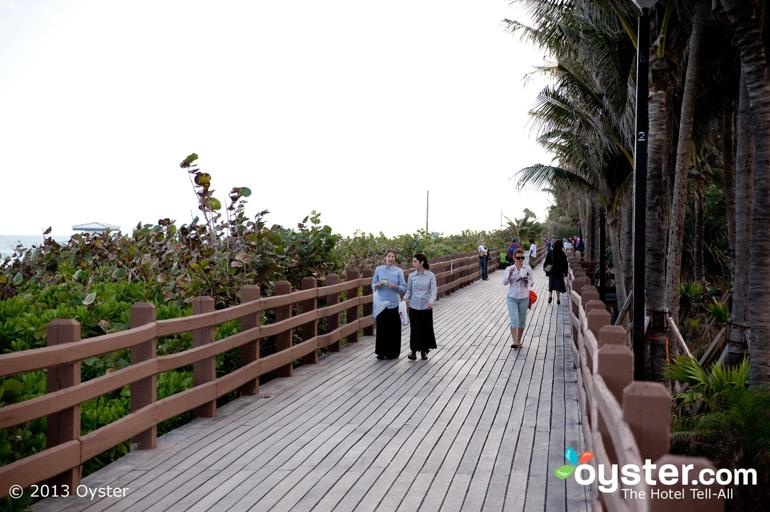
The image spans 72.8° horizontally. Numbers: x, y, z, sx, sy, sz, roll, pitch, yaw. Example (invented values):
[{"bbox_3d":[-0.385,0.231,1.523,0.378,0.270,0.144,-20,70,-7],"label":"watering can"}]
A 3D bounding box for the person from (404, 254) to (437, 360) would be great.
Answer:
[{"bbox_3d":[0.773,1.037,11.249,0.609,2.227,1.093,1,2,2],"label":"person"}]

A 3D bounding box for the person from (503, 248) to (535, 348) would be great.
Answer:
[{"bbox_3d":[3.079,0.964,12.174,0.646,2.318,1.606,1,2,14],"label":"person"}]

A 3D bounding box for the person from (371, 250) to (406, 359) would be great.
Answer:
[{"bbox_3d":[0.067,0.990,11.016,0.696,2.271,0.589,1,1,0],"label":"person"}]

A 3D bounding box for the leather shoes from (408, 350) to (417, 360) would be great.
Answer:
[{"bbox_3d":[0.564,2.079,10.815,0.107,0.230,0.217,-8,27,14],"label":"leather shoes"}]

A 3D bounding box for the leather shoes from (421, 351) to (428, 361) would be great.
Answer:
[{"bbox_3d":[0.807,2.110,11.013,0.089,0.191,0.187,3,35,3],"label":"leather shoes"}]
